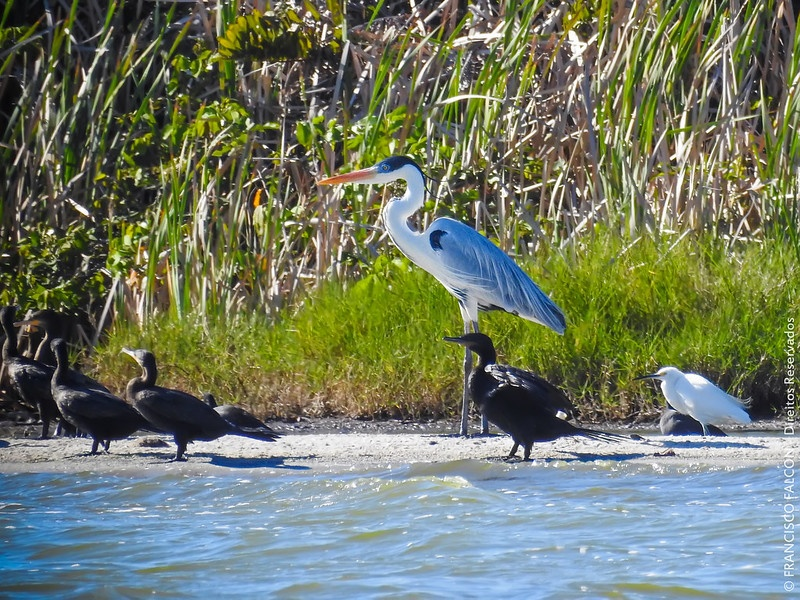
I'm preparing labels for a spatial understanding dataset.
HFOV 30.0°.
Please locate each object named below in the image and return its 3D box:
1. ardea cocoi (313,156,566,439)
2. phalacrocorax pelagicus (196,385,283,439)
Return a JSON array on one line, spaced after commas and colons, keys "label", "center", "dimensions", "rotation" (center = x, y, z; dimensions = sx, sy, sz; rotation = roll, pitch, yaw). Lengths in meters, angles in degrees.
[{"label": "ardea cocoi", "center": [0.449, -0.041, 13.755], "dimensions": [2.213, 2.628, 0.575], "rotation": [-3, -9, -13]}, {"label": "phalacrocorax pelagicus", "center": [-1.428, 1.035, 13.122], "dimensions": [0.710, 0.451, 0.229], "rotation": [3, 23, 21]}]
